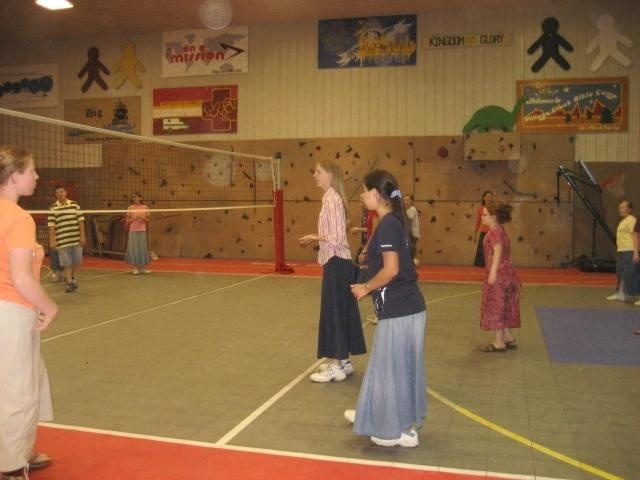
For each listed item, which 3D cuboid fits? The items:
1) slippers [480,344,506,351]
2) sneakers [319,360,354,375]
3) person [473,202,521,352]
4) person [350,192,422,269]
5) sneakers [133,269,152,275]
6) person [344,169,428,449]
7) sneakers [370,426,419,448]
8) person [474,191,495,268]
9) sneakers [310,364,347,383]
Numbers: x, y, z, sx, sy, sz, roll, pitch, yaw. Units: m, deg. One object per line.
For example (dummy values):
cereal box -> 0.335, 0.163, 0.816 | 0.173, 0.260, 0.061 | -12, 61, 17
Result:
slippers -> 2.170, 1.358, 7.241 | 0.239, 0.074, 0.122 | 2, -1, 0
sneakers -> 0.177, 1.404, 6.435 | 0.448, 0.214, 0.162 | 2, 1, -3
person -> 2.263, 0.480, 7.213 | 0.513, 1.826, 0.357 | -1, 7, -7
person -> 0.895, -0.134, 7.240 | 0.570, 0.561, 1.857 | 5, 0, 13
sneakers -> -4.180, 0.746, 13.332 | 0.262, 0.119, 0.151 | 3, 1, 2
person -> 0.593, 0.551, 4.905 | 0.623, 2.229, 0.398 | 2, 7, 10
sneakers -> 0.643, 1.721, 5.028 | 0.422, 0.209, 0.173 | 2, -3, 3
person -> 3.639, -0.140, 12.539 | 0.496, 1.797, 0.441 | 4, -23, 9
sneakers -> 0.094, 1.447, 6.303 | 0.429, 0.213, 0.163 | 1, 1, -6
